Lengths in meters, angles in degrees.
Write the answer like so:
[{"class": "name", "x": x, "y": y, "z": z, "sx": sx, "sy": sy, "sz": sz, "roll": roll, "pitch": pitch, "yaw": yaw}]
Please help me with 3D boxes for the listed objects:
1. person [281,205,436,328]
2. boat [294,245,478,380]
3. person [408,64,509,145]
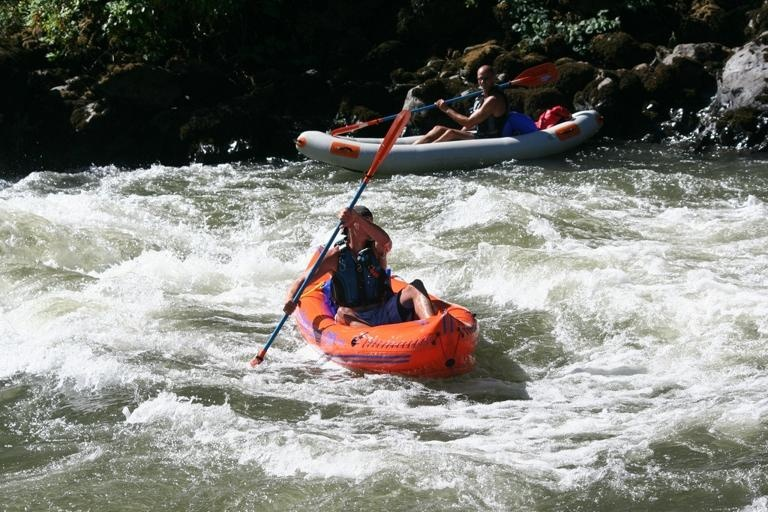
[{"class": "person", "x": -0.253, "y": 0.173, "z": 12.255, "sx": 1.306, "sy": 0.945, "sz": 1.811, "roll": -3, "pitch": 5, "yaw": -21}, {"class": "boat", "x": 0.023, "y": 0.791, "z": 12.879, "sx": 1.847, "sy": 0.988, "sz": 3.312, "roll": -11, "pitch": 15, "yaw": -23}, {"class": "person", "x": 1.473, "y": -2.544, "z": 16.930, "sx": 1.316, "sy": 1.317, "sz": 0.691, "roll": 2, "pitch": 16, "yaw": 2}]
